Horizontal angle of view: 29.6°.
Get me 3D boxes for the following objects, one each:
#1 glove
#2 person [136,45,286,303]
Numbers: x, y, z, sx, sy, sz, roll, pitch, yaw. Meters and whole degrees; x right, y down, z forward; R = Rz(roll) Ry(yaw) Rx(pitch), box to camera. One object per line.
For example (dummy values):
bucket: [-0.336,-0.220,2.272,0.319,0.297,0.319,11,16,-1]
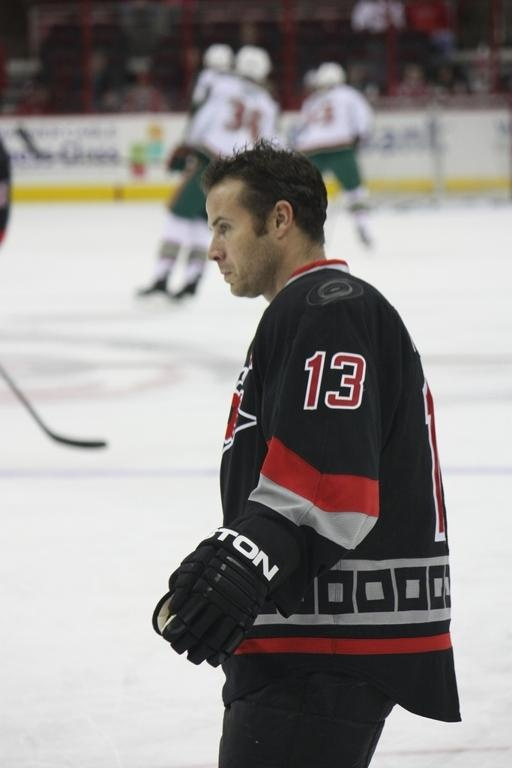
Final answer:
glove: [-0.023,0.191,0.914,0.104,0.141,0.052,37,-8,8]
person: [-0.381,-1.449,6.943,0.554,1.649,0.586,1,-19,47]
